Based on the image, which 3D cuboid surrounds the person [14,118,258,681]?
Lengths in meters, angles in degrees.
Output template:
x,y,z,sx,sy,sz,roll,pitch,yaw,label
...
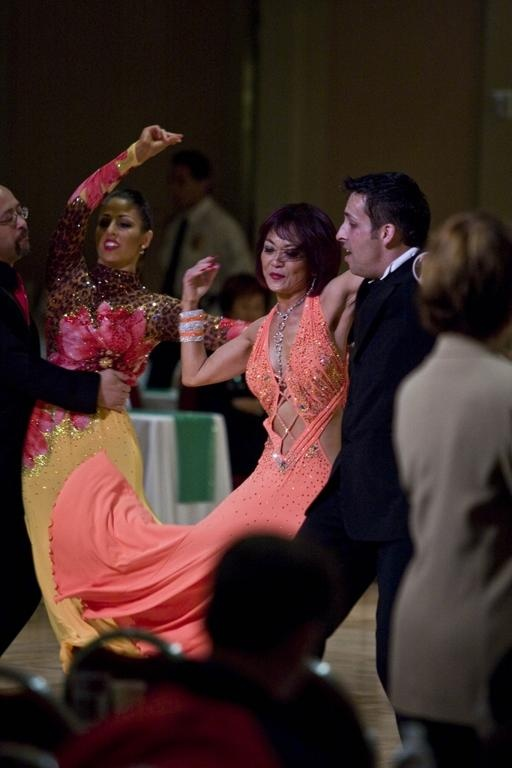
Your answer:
x,y,z,sx,sy,sz,roll,pitch,yaw,label
-0.539,0.022,2.747,0.513,1.730,0.811,10,20,29,person
